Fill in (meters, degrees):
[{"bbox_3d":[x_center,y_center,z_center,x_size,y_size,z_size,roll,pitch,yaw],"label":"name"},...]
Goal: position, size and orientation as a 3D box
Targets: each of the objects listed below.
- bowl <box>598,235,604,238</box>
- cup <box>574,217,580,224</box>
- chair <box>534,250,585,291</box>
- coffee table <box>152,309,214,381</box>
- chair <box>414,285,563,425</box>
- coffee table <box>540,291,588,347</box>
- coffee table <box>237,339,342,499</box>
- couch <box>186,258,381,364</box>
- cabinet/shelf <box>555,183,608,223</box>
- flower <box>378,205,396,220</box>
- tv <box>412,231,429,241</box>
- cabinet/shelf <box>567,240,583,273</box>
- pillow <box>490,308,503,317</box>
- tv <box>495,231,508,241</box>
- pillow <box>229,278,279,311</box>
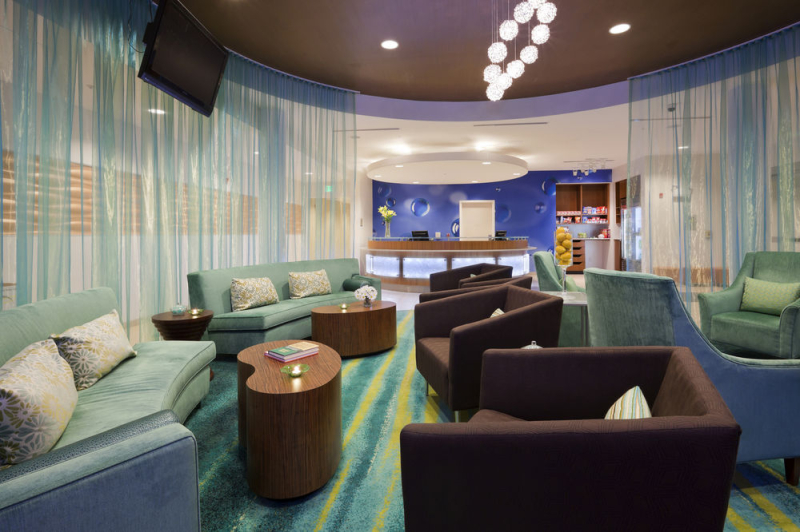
[{"bbox_3d":[5.075,-0.771,13.415,0.148,0.108,0.275,-1,6,22],"label":"bowl"},{"bbox_3d":[4.601,-1.226,13.821,0.169,0.166,0.110,-2,5,10],"label":"cup"},{"bbox_3d":[1.850,0.052,6.220,0.510,0.645,0.462,-2,1,19],"label":"chair"},{"bbox_3d":[-2.213,0.730,5.453,0.618,0.614,0.645,-2,15,-17],"label":"coffee table"},{"bbox_3d":[0.745,0.604,4.850,1.143,1.286,1.112,-1,1,-22],"label":"chair"},{"bbox_3d":[1.652,0.525,5.436,0.504,0.573,0.535,0,-3,16],"label":"coffee table"},{"bbox_3d":[-0.889,1.166,4.268,0.616,0.764,1.024,1,5,0],"label":"coffee table"},{"bbox_3d":[-1.238,0.456,6.812,0.942,1.064,2.712,-4,2,37],"label":"couch"},{"bbox_3d":[4.710,-1.635,13.851,1.178,1.091,0.399,1,-1,15],"label":"cabinet/shelf"},{"bbox_3d":[-0.340,-1.275,12.306,0.463,0.305,0.496,5,2,-1],"label":"flower"},{"bbox_3d":[0.407,-0.648,11.184,0.342,0.369,0.232,1,4,18],"label":"tv"},{"bbox_3d":[4.420,-0.315,13.531,0.442,0.881,0.473,-2,20,12],"label":"cabinet/shelf"},{"bbox_3d":[0.851,0.416,4.673,0.085,0.033,0.105,0,7,-5],"label":"pillow"},{"bbox_3d":[2.205,-0.681,11.672,0.271,0.288,0.201,1,12,-2],"label":"tv"},{"bbox_3d":[-1.741,0.300,6.326,0.236,0.438,0.741,-8,1,23],"label":"pillow"}]
